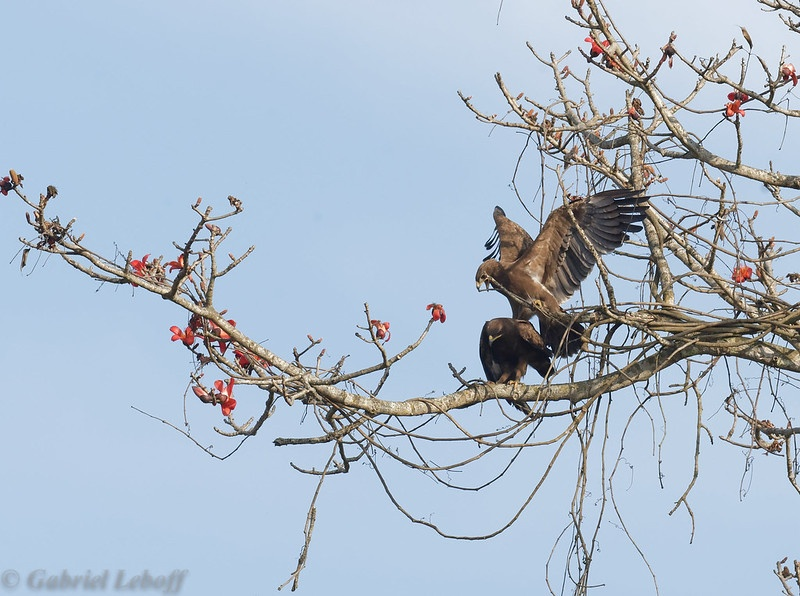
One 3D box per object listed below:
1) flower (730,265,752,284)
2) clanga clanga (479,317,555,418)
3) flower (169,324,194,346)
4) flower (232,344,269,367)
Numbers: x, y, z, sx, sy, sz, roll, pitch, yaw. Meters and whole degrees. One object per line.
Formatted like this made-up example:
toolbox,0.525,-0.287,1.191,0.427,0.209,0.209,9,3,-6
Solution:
flower,1.927,-0.124,10.199,0.116,0.142,0.071,-7,-25,19
clanga clanga,0.803,0.393,12.625,0.417,0.520,0.678,-13,-10,26
flower,-1.346,0.239,11.134,0.143,0.142,0.133,4,-44,-6
flower,-0.946,0.399,11.318,0.164,0.068,0.167,31,-31,6
